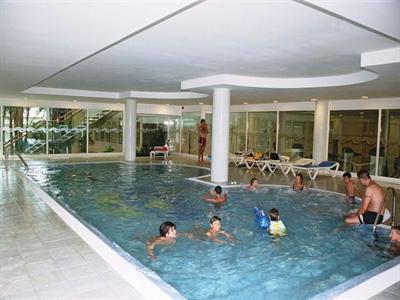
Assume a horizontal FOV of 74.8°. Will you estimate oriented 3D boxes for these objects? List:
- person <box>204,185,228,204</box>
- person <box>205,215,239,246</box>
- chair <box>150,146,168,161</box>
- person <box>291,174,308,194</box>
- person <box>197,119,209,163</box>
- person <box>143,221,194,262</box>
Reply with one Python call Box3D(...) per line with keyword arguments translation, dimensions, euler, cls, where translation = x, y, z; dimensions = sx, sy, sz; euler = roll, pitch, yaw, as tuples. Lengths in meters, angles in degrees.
Box3D(translation=(0.510, 1.487, 8.620), dimensions=(0.555, 0.718, 0.287), euler=(1, 23, 0), cls="person")
Box3D(translation=(0.423, 1.721, 5.682), dimensions=(0.424, 0.309, 0.738), euler=(-5, 6, -36), cls="person")
Box3D(translation=(-2.969, 0.224, 19.396), dimensions=(1.274, 0.699, 1.114), euler=(0, 1, -3), cls="chair")
Box3D(translation=(3.824, 1.343, 10.236), dimensions=(0.748, 0.534, 0.428), euler=(-1, -4, 39), cls="person")
Box3D(translation=(0.141, -0.581, 16.984), dimensions=(0.555, 2.742, 0.637), euler=(0, 9, -1), cls="person")
Box3D(translation=(-0.672, 1.783, 5.297), dimensions=(0.583, 0.465, 1.270), euler=(6, 11, 38), cls="person")
